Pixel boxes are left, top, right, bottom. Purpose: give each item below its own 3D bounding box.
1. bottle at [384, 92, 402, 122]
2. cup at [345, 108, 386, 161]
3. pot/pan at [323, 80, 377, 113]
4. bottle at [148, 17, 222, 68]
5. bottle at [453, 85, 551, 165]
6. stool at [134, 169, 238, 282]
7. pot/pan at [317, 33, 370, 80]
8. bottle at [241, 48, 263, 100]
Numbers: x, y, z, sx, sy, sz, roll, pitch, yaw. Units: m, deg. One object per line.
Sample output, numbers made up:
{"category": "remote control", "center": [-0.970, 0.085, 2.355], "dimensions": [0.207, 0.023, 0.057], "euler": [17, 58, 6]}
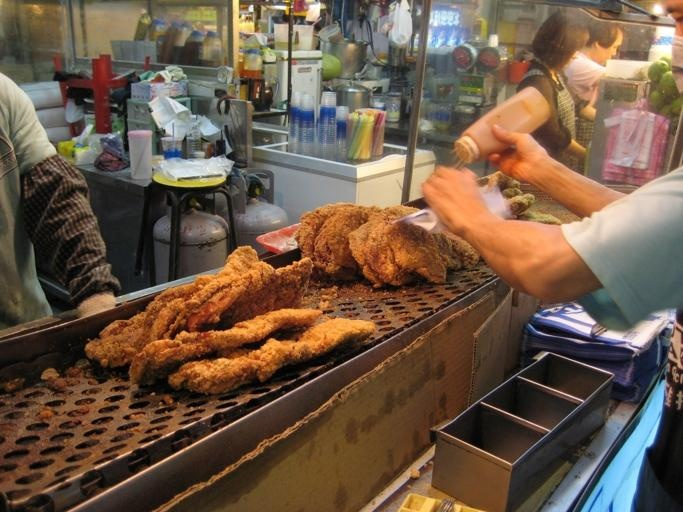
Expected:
{"category": "bottle", "center": [0.572, -1.578, 5.470], "dimensions": [0.247, 0.309, 0.103], "euler": [-11, 23, -32]}
{"category": "cup", "center": [0.174, -0.993, 4.174], "dimensions": [0.282, 0.400, 0.313], "euler": [6, 22, -1]}
{"category": "pot/pan", "center": [0.114, -1.663, 5.370], "dimensions": [0.466, 0.366, 0.317], "euler": [8, 28, 10]}
{"category": "bottle", "center": [-1.391, -1.935, 4.663], "dimensions": [0.956, 0.480, 0.312], "euler": [11, 21, 31]}
{"category": "bottle", "center": [0.475, -0.382, 1.541], "dimensions": [0.336, 0.158, 0.103], "euler": [-32, -14, -9]}
{"category": "stool", "center": [-1.135, -0.174, 3.704], "dimensions": [0.642, 0.859, 0.569], "euler": [20, 27, 40]}
{"category": "pot/pan", "center": [0.039, -2.422, 6.210], "dimensions": [0.573, 0.386, 0.613], "euler": [6, 29, 9]}
{"category": "bottle", "center": [-0.826, -1.697, 4.773], "dimensions": [0.203, 0.446, 0.371], "euler": [-1, 20, -10]}
